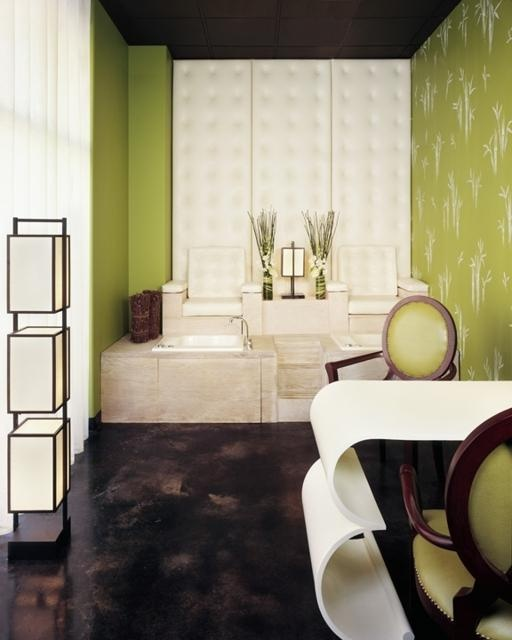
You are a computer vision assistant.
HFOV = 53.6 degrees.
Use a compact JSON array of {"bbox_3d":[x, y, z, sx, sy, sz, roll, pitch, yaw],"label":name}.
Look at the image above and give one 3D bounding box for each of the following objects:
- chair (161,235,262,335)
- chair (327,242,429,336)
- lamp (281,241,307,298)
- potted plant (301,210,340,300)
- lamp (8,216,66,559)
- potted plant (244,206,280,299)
[{"bbox_3d":[-0.381,-0.236,4.647,0.788,1.098,0.710,0,2,0],"label":"chair"},{"bbox_3d":[1.099,-0.391,4.709,0.690,1.169,0.699,0,2,0],"label":"chair"},{"bbox_3d":[0.351,-0.493,4.762,0.183,0.557,0.201,-3,20,-6],"label":"lamp"},{"bbox_3d":[0.587,-0.578,4.853,0.271,1.001,0.301,-3,-7,28],"label":"potted plant"},{"bbox_3d":[-0.848,0.249,1.994,0.252,1.306,0.386,-2,5,-23],"label":"lamp"},{"bbox_3d":[0.110,-0.622,4.926,0.199,0.846,0.232,-4,10,0],"label":"potted plant"}]
